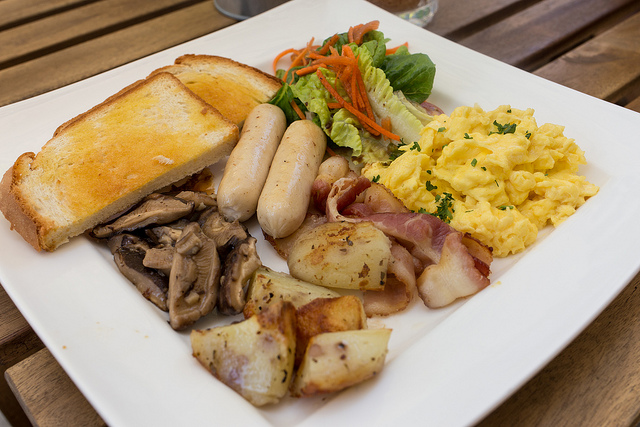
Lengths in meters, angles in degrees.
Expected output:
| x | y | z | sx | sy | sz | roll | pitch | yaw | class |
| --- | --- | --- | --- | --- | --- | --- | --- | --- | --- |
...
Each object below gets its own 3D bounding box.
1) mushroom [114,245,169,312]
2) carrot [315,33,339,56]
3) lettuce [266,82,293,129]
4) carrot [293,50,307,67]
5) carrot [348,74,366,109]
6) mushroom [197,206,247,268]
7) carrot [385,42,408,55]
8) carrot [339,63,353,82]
| x | y | z | sx | sy | sz | roll | pitch | yaw | class |
| --- | --- | --- | --- | --- | --- | --- | --- | --- | --- |
| -0.993 | 0.354 | 2.994 | 0.386 | 0.090 | 0.238 | 46 | 34 | 9 | mushroom |
| 0.080 | -1.251 | 3.918 | 0.052 | 0.075 | 0.274 | 22 | 58 | 37 | carrot |
| -0.263 | -0.766 | 3.737 | 0.151 | 0.103 | 0.320 | 0 | 90 | 0 | lettuce |
| -0.144 | -1.146 | 3.907 | 0.035 | 0.048 | 0.184 | -23 | 66 | -45 | carrot |
| 0.263 | -0.825 | 3.707 | 0.067 | 0.049 | 0.302 | -19 | 89 | -7 | carrot |
| -0.610 | 0.107 | 3.176 | 0.302 | 0.129 | 0.303 | 45 | 46 | 17 | mushroom |
| 0.570 | -1.220 | 3.911 | 0.197 | 0.040 | 0.028 | -36 | 82 | -18 | carrot |
| 0.183 | -0.978 | 3.649 | 0.059 | 0.024 | 0.092 | 44 | 108 | 15 | carrot |
